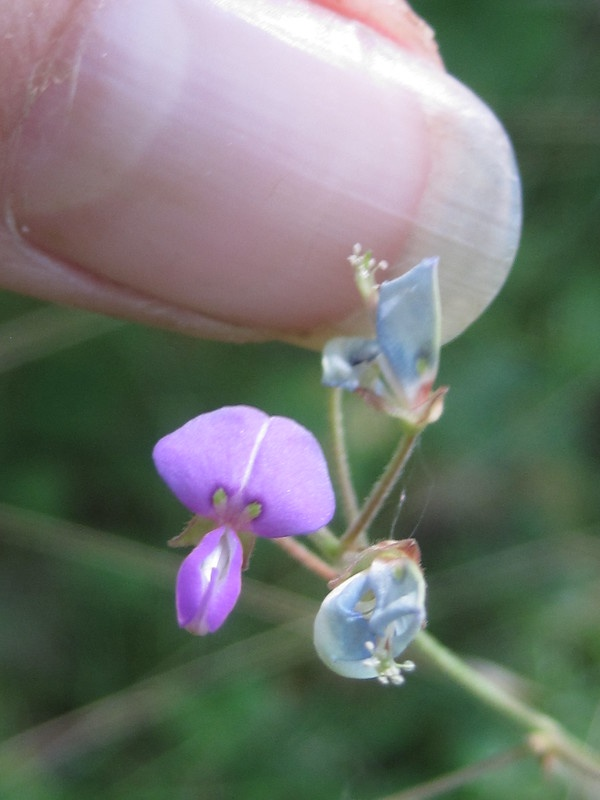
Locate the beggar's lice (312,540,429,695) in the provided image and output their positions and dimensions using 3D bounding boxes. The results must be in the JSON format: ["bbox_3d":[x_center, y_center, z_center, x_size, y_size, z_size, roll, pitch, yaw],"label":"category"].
[{"bbox_3d":[0.033,0.096,0.356,0.048,0.053,0.056,0,43,9],"label":"beggar's lice"}]

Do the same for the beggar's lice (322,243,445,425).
[{"bbox_3d":[0.039,-0.022,0.379,0.064,0.091,0.039,-12,44,-4],"label":"beggar's lice"}]
